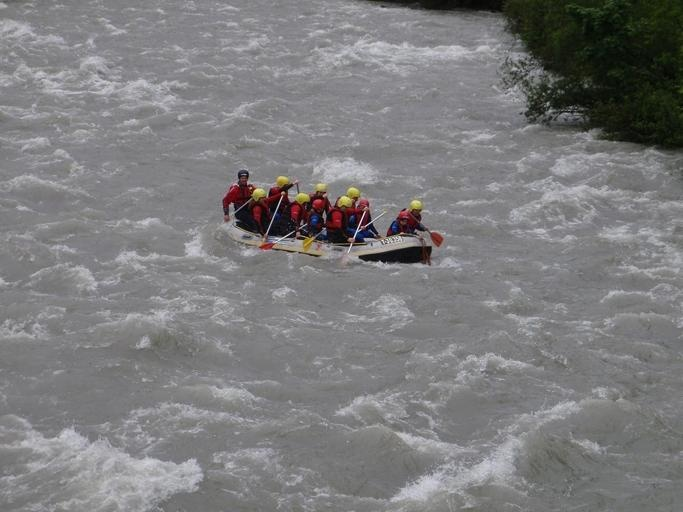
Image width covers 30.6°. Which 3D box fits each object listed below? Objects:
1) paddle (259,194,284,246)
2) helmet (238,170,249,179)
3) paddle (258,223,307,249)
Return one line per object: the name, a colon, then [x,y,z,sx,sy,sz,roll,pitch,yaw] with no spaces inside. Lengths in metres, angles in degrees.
paddle: [-2.041,-1.064,37.528,0.414,0.182,2.056,37,36,-13]
helmet: [-2.969,-2.511,37.897,0.312,0.163,0.379,-1,8,-5]
paddle: [-1.728,-0.595,37.119,1.710,0.085,0.241,-21,57,-3]
